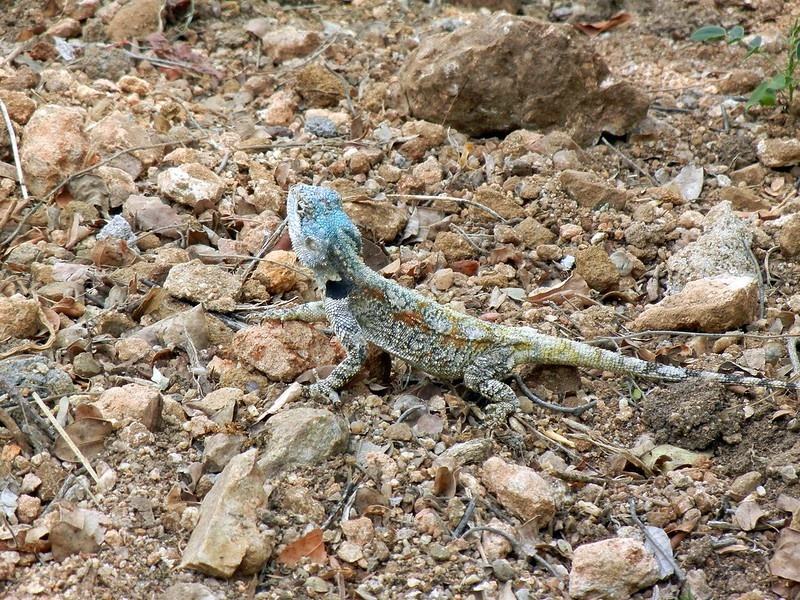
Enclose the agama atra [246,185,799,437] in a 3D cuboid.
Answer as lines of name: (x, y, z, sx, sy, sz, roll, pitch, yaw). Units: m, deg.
agama atra: (0.860, 0.033, 6.145, 3.975, 1.356, 1.272, 10, 37, 5)
